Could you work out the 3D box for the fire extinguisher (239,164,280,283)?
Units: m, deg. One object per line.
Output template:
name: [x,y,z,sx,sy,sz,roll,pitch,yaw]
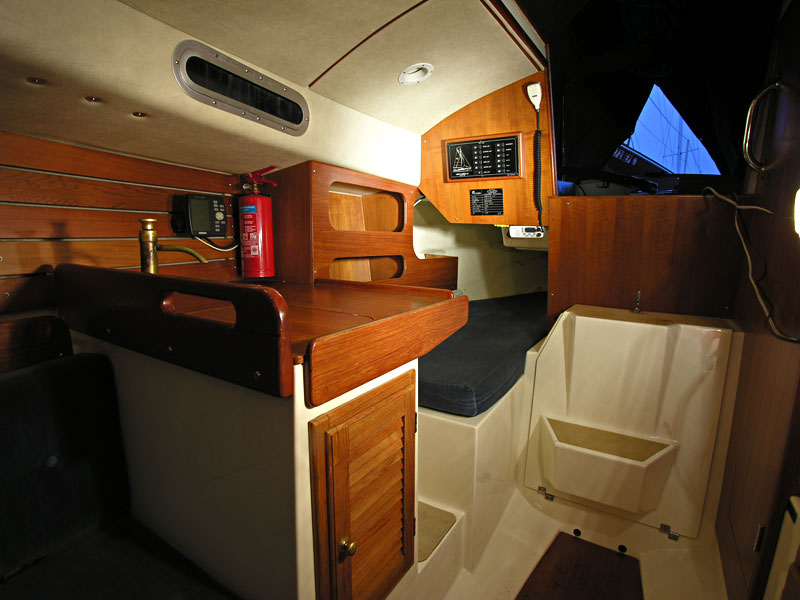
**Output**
fire extinguisher: [-0.607,-0.317,2.304,0.133,0.475,0.177,6,13,35]
